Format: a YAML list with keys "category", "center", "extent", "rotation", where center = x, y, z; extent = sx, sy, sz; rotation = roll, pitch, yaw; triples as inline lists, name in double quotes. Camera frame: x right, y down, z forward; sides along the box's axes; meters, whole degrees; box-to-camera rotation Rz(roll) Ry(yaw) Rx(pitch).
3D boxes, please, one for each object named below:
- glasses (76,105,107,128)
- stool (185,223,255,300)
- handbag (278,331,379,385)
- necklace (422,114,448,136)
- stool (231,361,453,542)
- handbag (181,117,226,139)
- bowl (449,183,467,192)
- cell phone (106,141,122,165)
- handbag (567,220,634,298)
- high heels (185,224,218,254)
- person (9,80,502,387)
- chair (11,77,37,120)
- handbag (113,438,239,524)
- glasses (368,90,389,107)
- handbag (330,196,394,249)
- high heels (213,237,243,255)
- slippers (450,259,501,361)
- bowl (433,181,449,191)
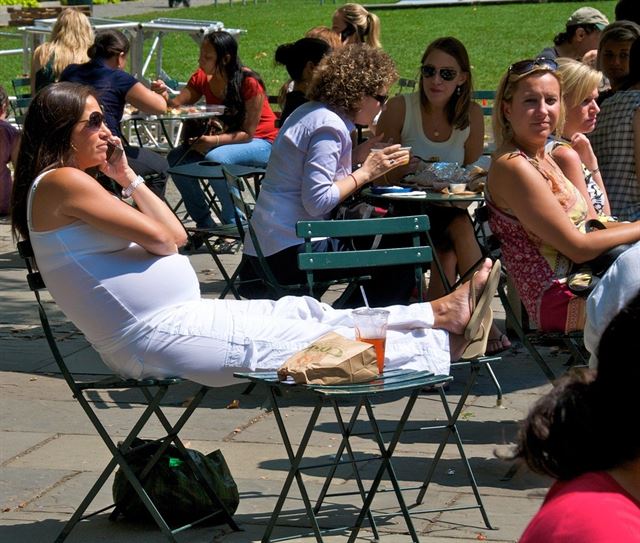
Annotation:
- category: "glasses"
  center: [-1.020, -0.677, 4.896]
  extent: [0.122, 0.041, 0.102]
  rotation: [2, 22, 22]
- category: "stool"
  center: [-0.617, 0.025, 7.914]
  extent: [0.589, 0.488, 0.391]
  rotation: [3, 1, 16]
- category: "handbag"
  center: [0.017, 0.353, 4.476]
  extent: [0.320, 0.106, 0.209]
  rotation: [-7, 10, -20]
- category: "necklace"
  center: [0.754, -0.940, 7.287]
  extent: [0.145, 0.146, 0.040]
  rotation: [6, 20, -3]
- category: "stool"
  center: [0.180, 0.758, 4.873]
  extent: [1.198, 0.836, 0.789]
  rotation: [3, -4, -36]
- category: "handbag"
  center: [-1.058, -1.246, 9.863]
  extent: [0.316, 0.208, 0.219]
  rotation: [6, 7, 10]
- category: "bowl"
  center: [0.802, -0.480, 6.487]
  extent: [0.085, 0.032, 0.084]
  rotation: [1, 4, 0]
- category: "cell phone"
  center: [-1.025, -0.569, 5.375]
  extent: [0.114, 0.078, 0.115]
  rotation: [2, -3, -7]
- category: "handbag"
  center: [1.344, 0.006, 5.369]
  extent: [0.288, 0.237, 0.364]
  rotation: [4, 16, 14]
- category: "high heels"
  center: [-0.953, -0.237, 8.705]
  extent: [0.190, 0.078, 0.395]
  rotation: [-6, 13, -20]
- category: "person"
  center: [-0.283, -0.083, 5.190]
  extent: [2.487, 1.138, 0.827]
  rotation: [7, 10, -18]
- category: "chair"
  center: [-3.485, -2.019, 12.882]
  extent: [0.356, 0.356, 0.344]
  rotation: [-9, 20, -7]
- category: "handbag"
  center: [-0.684, 0.973, 4.992]
  extent: [0.576, 0.285, 0.350]
  rotation: [3, -25, -12]
- category: "glasses"
  center: [0.330, -0.964, 6.216]
  extent: [0.109, 0.089, 0.034]
  rotation: [-1, -11, 42]
- category: "handbag"
  center: [0.229, -0.293, 6.324]
  extent: [0.402, 0.305, 0.253]
  rotation: [3, 8, -4]
- category: "high heels"
  center: [-0.822, -0.208, 9.518]
  extent: [0.133, 0.104, 0.317]
  rotation: [36, 2, -9]
- category: "slippers"
  center: [0.654, 0.172, 4.926]
  extent: [0.148, 0.424, 0.166]
  rotation: [13, 0, 4]
- category: "bowl"
  center: [0.714, -0.498, 6.579]
  extent: [0.072, 0.036, 0.065]
  rotation: [4, 8, 23]
